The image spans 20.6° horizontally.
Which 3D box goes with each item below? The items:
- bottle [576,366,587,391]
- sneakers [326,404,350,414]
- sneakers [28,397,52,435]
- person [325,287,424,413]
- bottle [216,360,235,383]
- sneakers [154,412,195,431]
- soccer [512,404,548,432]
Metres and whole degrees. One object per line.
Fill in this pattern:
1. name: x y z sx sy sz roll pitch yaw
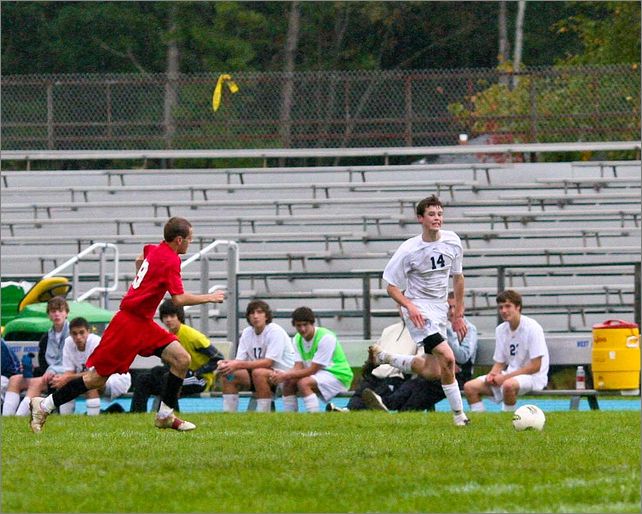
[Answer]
1. bottle: 4.284 1.983 28.992 0.166 0.385 0.286 -1 -2 9
2. sneakers: 0.242 2.444 28.477 0.418 0.165 0.140 -10 -13 28
3. sneakers: -4.180 2.333 26.132 0.300 0.540 0.216 0 1 10
4. person: 0.995 1.802 29.017 0.995 0.875 1.945 15 24 39
5. bottle: -1.584 1.866 28.937 0.231 0.340 0.370 -10 -1 -5
6. sneakers: -2.227 2.455 26.362 0.642 0.252 0.235 3 12 -13
7. soccer: 3.111 2.400 26.268 0.475 0.369 0.401 8 10 9
